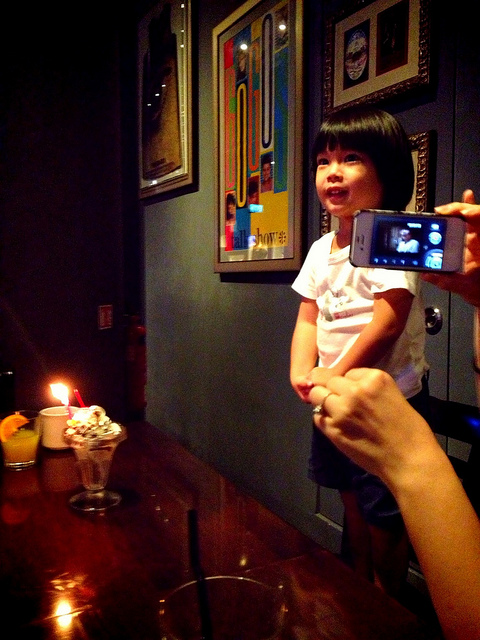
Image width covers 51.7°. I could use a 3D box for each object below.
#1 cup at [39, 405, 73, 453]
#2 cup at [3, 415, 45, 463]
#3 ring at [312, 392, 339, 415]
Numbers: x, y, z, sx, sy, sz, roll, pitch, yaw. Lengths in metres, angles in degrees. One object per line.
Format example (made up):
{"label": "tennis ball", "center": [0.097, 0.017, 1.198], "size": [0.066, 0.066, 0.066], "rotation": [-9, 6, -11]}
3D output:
{"label": "cup", "center": [-0.428, 0.235, 1.108], "size": [0.063, 0.089, 0.095], "rotation": [10, -34, -22]}
{"label": "cup", "center": [-0.439, 0.230, 1.003], "size": [0.068, 0.091, 0.073], "rotation": [0, 1, 0]}
{"label": "ring", "center": [0.084, 0.074, 0.490], "size": [0.008, 0.025, 0.018], "rotation": [34, -9, -22]}
